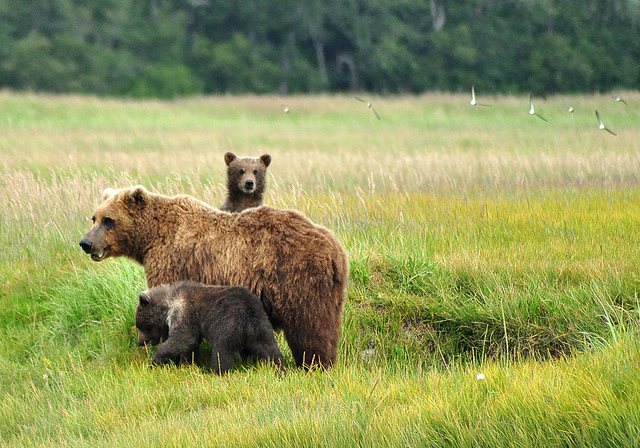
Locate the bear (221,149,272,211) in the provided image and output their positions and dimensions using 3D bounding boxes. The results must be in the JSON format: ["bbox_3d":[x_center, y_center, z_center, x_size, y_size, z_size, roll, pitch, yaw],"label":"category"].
[{"bbox_3d":[-1.974,-0.963,28.684,1.186,2.075,1.845,2,4,2],"label":"bear"}]
